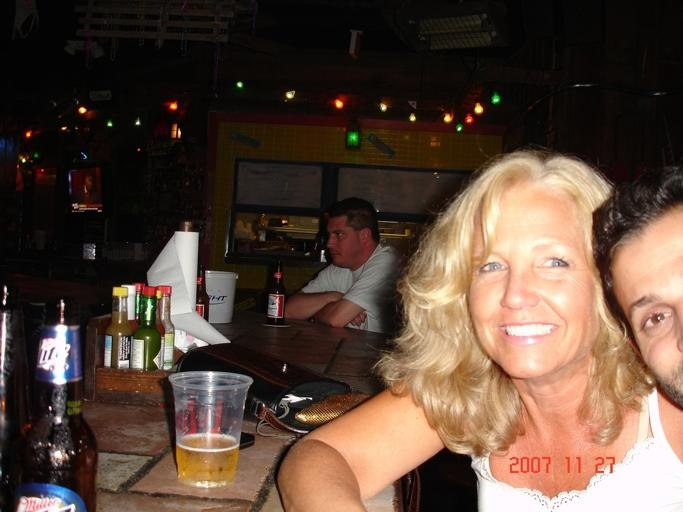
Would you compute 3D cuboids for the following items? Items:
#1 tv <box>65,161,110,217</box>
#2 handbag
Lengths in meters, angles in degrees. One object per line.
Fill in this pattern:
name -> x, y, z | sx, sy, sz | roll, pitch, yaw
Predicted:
tv -> -1.758, -0.468, 4.194 | 0.050, 0.451, 0.355 | 3, 14, 23
handbag -> -0.204, 0.293, 1.611 | 0.355, 0.108, 0.230 | 17, 5, 23
